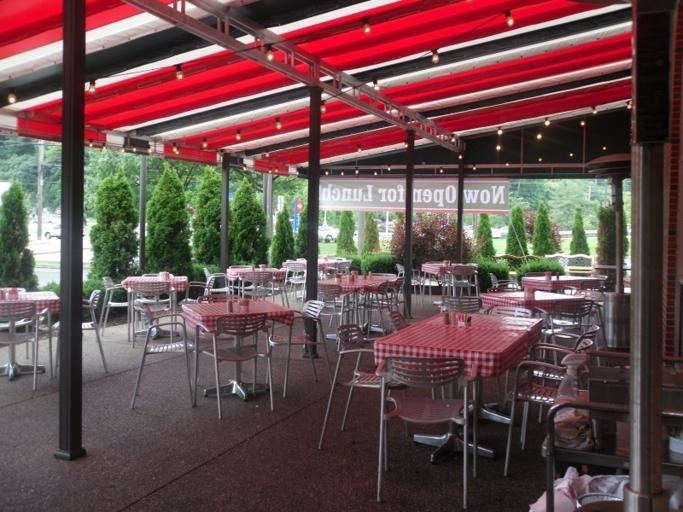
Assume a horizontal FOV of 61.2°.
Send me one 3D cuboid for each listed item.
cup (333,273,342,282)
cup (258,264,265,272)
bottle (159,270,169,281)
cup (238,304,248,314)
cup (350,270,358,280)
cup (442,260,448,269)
[{"bbox_3d":[-0.071,0.385,9.716,0.113,0.127,0.114,1,5,0],"label":"cup"},{"bbox_3d":[-1.586,0.256,11.579,0.166,0.123,0.164,-1,-1,0],"label":"cup"},{"bbox_3d":[-2.863,0.346,9.283,0.122,0.198,0.207,0,-1,1],"label":"bottle"},{"bbox_3d":[-1.073,0.585,6.289,0.093,0.068,0.091,0,0,0],"label":"cup"},{"bbox_3d":[0.208,0.334,9.668,0.130,0.129,0.240,4,3,2],"label":"cup"},{"bbox_3d":[2.388,0.209,13.347,0.146,0.267,0.149,-1,0,0],"label":"cup"}]
